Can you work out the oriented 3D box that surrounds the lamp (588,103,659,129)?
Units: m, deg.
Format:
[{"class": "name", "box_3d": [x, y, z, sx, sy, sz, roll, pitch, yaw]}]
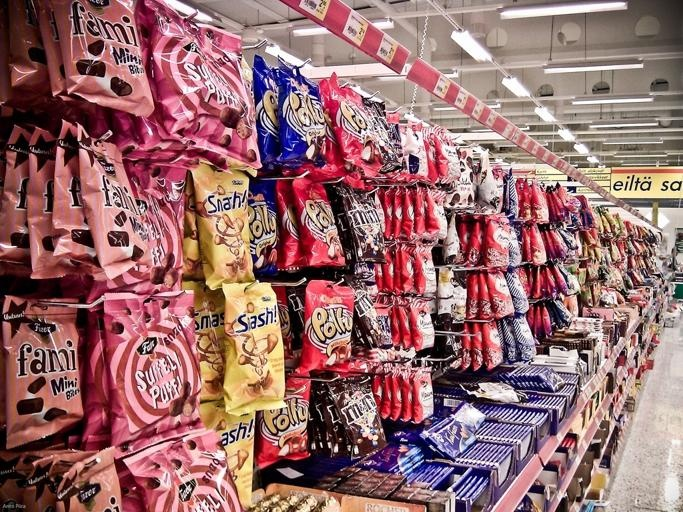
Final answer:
[{"class": "lamp", "box_3d": [9.516, -4.769, 16.399, 1.668, 0.422, 0.251, 4, 1, 27]}]
